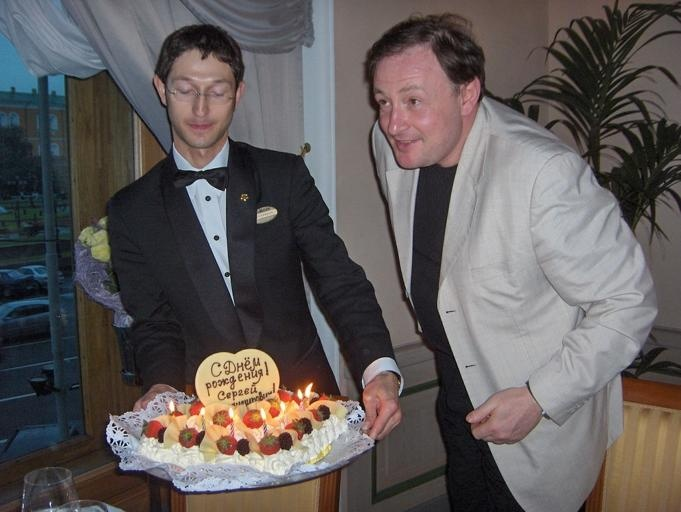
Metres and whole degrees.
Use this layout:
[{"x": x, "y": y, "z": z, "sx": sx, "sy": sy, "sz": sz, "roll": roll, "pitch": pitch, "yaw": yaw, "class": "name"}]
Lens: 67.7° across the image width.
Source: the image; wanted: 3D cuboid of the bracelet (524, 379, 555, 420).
[{"x": 0.690, "y": 0.485, "z": 1.773, "sx": 0.049, "sy": 0.116, "sz": 0.128, "roll": -28, "pitch": 13, "yaw": -1, "class": "bracelet"}]

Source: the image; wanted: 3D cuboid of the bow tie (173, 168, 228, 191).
[{"x": -0.563, "y": -0.311, "z": 2.047, "sx": 0.203, "sy": 0.090, "sz": 0.091, "roll": -1, "pitch": 10, "yaw": 13, "class": "bow tie"}]

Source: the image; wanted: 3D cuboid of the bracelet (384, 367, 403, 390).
[{"x": 0.209, "y": 0.465, "z": 1.941, "sx": 0.060, "sy": 0.078, "sz": 0.028, "roll": -4, "pitch": -11, "yaw": -7, "class": "bracelet"}]

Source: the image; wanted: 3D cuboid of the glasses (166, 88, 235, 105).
[{"x": -0.533, "y": -0.614, "z": 1.928, "sx": 0.248, "sy": 0.091, "sz": 0.060, "roll": -5, "pitch": 9, "yaw": -9, "class": "glasses"}]
